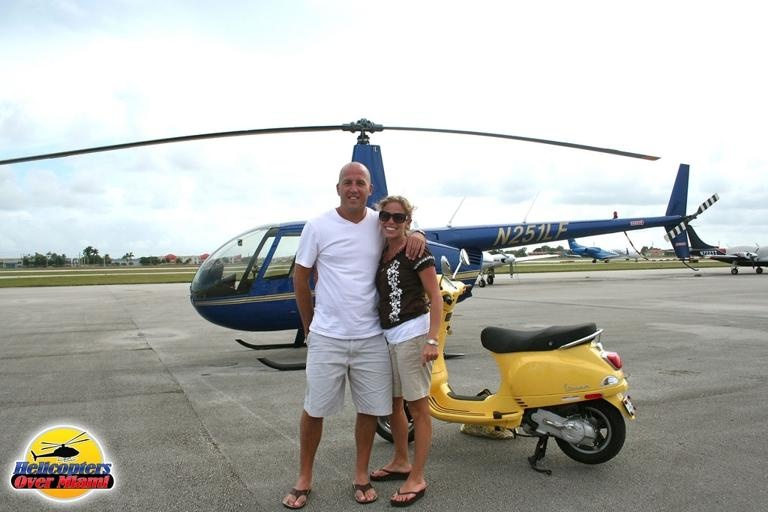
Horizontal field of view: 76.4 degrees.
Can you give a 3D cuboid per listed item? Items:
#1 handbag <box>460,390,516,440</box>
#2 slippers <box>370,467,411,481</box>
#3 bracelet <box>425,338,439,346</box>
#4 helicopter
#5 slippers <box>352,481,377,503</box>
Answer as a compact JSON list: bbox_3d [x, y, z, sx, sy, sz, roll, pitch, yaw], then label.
[{"bbox_3d":[1.057,1.668,4.956,0.735,0.431,0.416,-2,4,5],"label":"handbag"},{"bbox_3d":[0.050,1.916,4.307,0.363,0.085,0.119,2,-2,-3],"label":"slippers"},{"bbox_3d":[0.388,0.714,3.988,0.095,0.065,0.058,0,4,12],"label":"bracelet"},{"bbox_3d":[1.447,-0.062,9.770,9.254,2.785,8.201,1,3,-5],"label":"helicopter"},{"bbox_3d":[-0.171,1.938,4.017,0.226,0.130,0.171,0,4,8],"label":"slippers"}]
